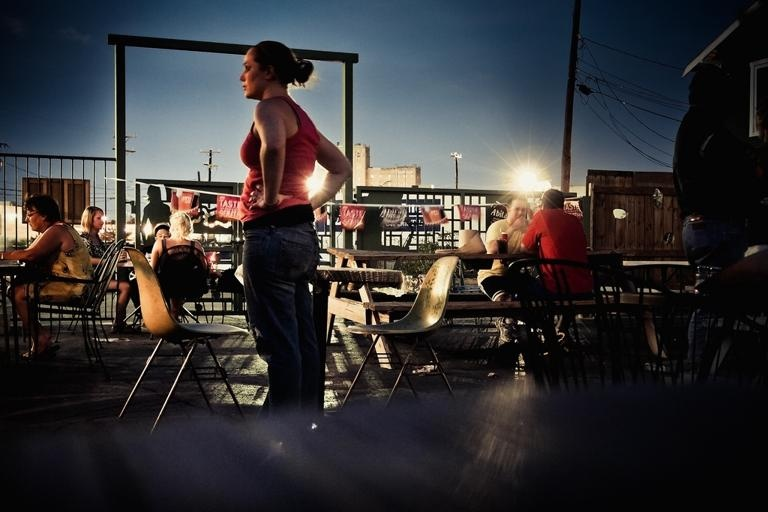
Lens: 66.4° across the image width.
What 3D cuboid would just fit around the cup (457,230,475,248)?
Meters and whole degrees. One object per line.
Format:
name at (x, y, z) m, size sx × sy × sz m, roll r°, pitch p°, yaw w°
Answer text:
cup at (0.954, -0.205, 6.883) m, size 0.185 × 0.226 × 0.192 m, roll 0°, pitch 3°, yaw 0°

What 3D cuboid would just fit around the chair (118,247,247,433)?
chair at (-1.373, 0.580, 4.316) m, size 0.883 × 1.212 × 0.847 m, roll -1°, pitch -1°, yaw -10°

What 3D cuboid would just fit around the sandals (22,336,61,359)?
sandals at (-3.635, 1.021, 6.439) m, size 0.175 × 0.222 × 0.545 m, roll -9°, pitch -12°, yaw 33°

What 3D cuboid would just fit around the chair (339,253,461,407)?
chair at (0.164, 0.574, 4.427) m, size 0.869 × 1.214 × 0.761 m, roll 2°, pitch -5°, yaw -14°
